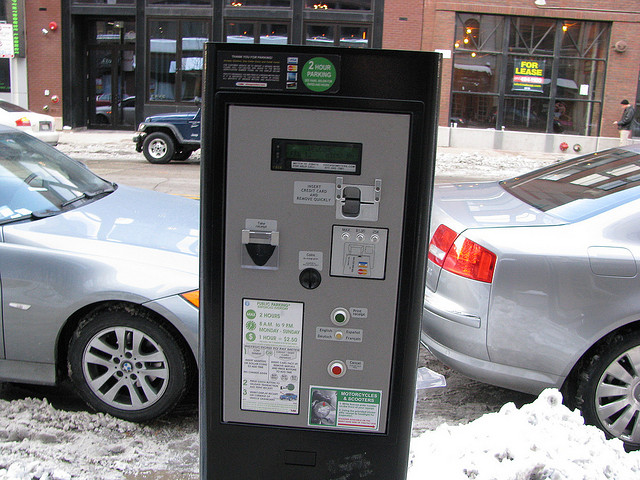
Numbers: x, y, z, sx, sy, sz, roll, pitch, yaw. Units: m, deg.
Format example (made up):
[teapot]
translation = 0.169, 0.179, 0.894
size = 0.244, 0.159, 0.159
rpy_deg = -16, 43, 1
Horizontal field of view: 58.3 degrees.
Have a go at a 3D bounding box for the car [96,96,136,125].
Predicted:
[car]
translation = -8.080, -5.234, 23.509
size = 1.846, 0.955, 0.963
rpy_deg = 3, 8, 0

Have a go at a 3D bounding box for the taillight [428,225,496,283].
[taillight]
translation = 0.944, 0.097, 3.904
size = 0.093, 0.268, 0.512
rpy_deg = 10, 6, -33
